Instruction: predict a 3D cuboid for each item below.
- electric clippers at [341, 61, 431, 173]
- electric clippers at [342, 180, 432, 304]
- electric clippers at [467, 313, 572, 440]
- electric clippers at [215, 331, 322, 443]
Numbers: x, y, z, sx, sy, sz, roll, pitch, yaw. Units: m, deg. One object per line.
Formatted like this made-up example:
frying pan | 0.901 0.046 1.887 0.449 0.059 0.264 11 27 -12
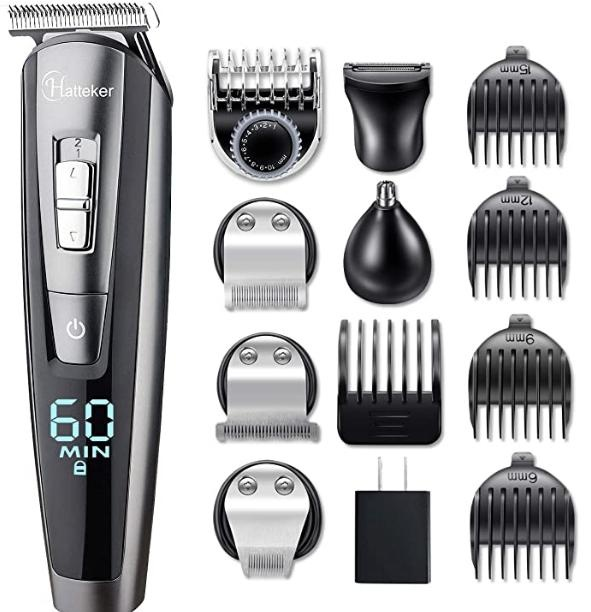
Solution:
electric clippers | 0.154 -0.324 1.529 0.146 0.159 0.125 0 -20 8
electric clippers | 0.169 -0.115 1.567 0.171 0.176 0.253 4 -58 12
electric clippers | 0.379 0.119 1.528 0.174 0.219 0.147 0 -20 8
electric clippers | -0.046 0.144 1.496 0.213 0.263 0.043 0 -5 2
